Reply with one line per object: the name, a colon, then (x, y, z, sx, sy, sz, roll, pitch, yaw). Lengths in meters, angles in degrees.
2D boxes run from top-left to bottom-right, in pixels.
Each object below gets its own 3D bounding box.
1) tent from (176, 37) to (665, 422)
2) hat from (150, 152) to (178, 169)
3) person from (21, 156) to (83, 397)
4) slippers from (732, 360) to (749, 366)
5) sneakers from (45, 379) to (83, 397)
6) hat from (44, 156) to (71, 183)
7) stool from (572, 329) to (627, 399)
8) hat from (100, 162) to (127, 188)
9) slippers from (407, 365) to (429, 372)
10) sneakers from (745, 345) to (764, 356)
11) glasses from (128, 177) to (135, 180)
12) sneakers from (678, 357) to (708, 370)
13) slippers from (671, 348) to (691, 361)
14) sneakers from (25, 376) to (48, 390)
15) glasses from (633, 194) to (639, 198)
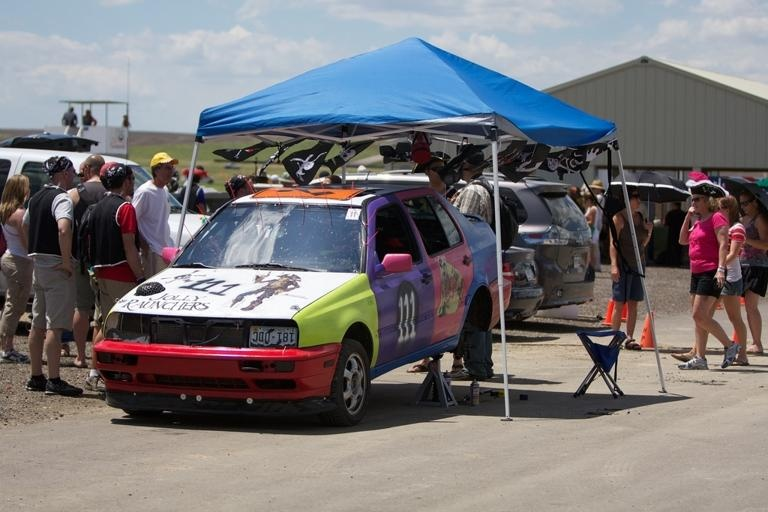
tent: (0.501, -0.745, 14.721, 5.964, 4.175, 5.971, 5, 4, 44)
hat: (-2.764, -1.195, 13.883, 0.334, 0.165, 0.236, -4, 3, -1)
person: (-3.964, 0.241, 13.208, 0.641, 2.812, 0.803, -2, 5, -18)
slippers: (5.025, 1.524, 15.532, 0.229, 0.087, 0.086, 7, 1, 10)
sneakers: (-3.766, 1.569, 13.107, 0.467, 0.201, 0.182, 8, 1, -5)
hat: (-3.939, -1.040, 13.399, 0.310, 0.297, 0.243, -30, 24, -32)
stool: (2.659, 1.322, 13.590, 0.605, 0.753, 0.606, 0, -2, 35)
hat: (-3.248, -0.959, 13.272, 0.274, 0.325, 0.349, 8, 28, -6)
slippers: (0.499, 1.539, 15.074, 0.321, 0.131, 0.116, -6, -12, 27)
sneakers: (5.528, 1.430, 16.478, 0.255, 0.102, 0.122, 8, 4, 10)
glasses: (-3.103, -0.946, 13.631, 0.054, 0.034, 0.055, 13, 22, 36)
sneakers: (4.264, 1.496, 15.198, 0.412, 0.195, 0.152, 2, 0, 2)
slippers: (4.289, 1.440, 15.921, 0.328, 0.134, 0.112, 4, -1, 13)
sneakers: (-4.122, 1.533, 13.160, 0.288, 0.133, 0.133, -1, 3, 4)
glasses: (3.842, -0.901, 16.846, 0.060, 0.029, 0.059, -17, 17, -32)
